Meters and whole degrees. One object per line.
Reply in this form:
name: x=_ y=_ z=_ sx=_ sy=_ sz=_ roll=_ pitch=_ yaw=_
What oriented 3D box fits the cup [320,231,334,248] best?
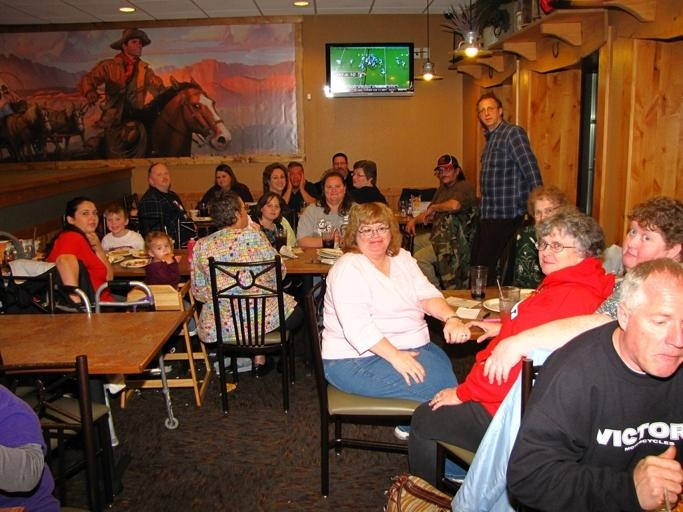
cup: x=-0.113 y=-0.128 z=4.564 sx=0.116 sy=0.122 sz=0.113 roll=-1 pitch=9 yaw=0

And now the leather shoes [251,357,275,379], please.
leather shoes: x=-0.590 y=0.825 z=4.305 sx=0.078 sy=0.087 sz=0.202 roll=5 pitch=26 yaw=18

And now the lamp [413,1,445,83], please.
lamp: x=1.081 y=-2.608 z=7.199 sx=0.360 sy=0.954 sz=0.999 roll=-2 pitch=4 yaw=9

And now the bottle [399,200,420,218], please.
bottle: x=0.730 y=-0.514 z=6.269 sx=0.258 sy=0.247 sz=0.142 roll=-2 pitch=13 yaw=0
